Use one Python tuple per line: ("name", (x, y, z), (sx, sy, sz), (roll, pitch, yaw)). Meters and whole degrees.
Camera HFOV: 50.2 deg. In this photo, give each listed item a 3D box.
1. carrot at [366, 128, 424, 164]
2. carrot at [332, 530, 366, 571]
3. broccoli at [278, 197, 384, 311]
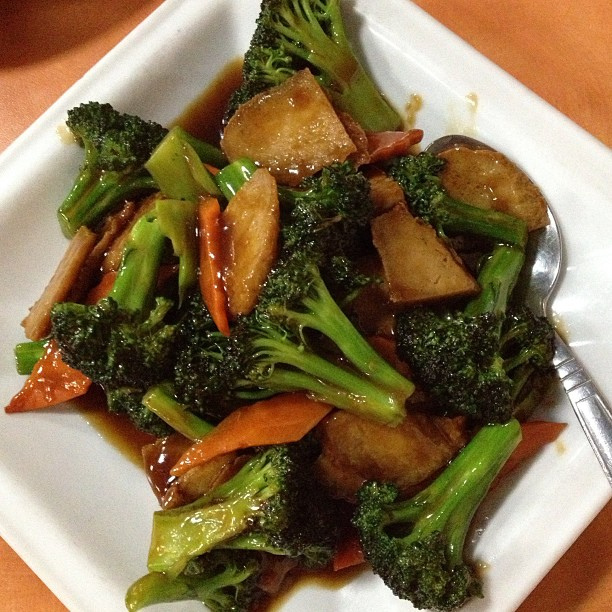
("carrot", (0.308, -0.584, 2.452), (0.226, 0.079, 0.104), (-16, 65, 21))
("carrot", (0.158, 0.910, 2.399), (0.048, 0.160, 0.150), (30, 61, -14))
("broccoli", (0.065, -0.181, 2.143), (0.125, 0.394, 0.336), (-37, 17, -10))
